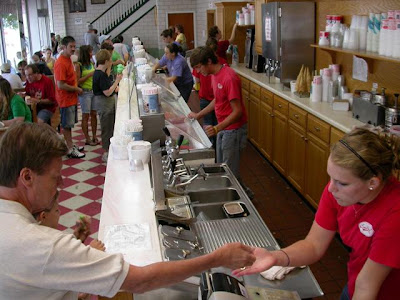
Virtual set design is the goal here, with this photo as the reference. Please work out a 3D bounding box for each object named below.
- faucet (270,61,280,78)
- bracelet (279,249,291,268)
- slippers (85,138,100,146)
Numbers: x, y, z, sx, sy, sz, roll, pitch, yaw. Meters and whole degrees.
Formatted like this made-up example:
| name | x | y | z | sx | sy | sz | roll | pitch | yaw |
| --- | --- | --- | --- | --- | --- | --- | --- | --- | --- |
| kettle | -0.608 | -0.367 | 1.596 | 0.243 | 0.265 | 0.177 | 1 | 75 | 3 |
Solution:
| name | x | y | z | sx | sy | sz | roll | pitch | yaw |
| --- | --- | --- | --- | --- | --- | --- | --- | --- | --- |
| faucet | 1.317 | -1.420 | 5.094 | 0.091 | 0.310 | 0.321 | -1 | 15 | -6 |
| bracelet | 0.476 | 0.592 | 1.587 | 0.016 | 0.074 | 0.069 | -8 | -27 | -13 |
| slippers | -2.372 | -0.201 | 6.379 | 0.242 | 0.084 | 0.149 | 13 | 28 | 23 |
